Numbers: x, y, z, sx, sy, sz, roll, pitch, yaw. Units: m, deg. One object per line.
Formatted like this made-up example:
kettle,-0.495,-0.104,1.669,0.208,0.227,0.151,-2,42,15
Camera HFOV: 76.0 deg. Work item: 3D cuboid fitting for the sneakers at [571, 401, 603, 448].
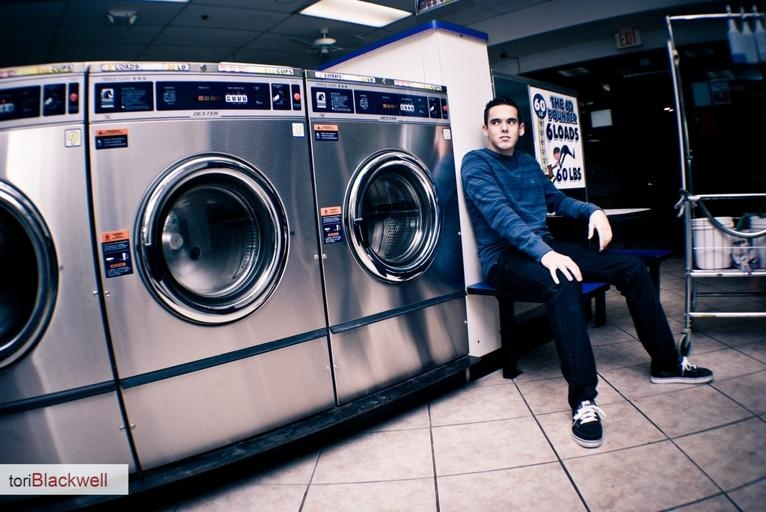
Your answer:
sneakers,0.991,0.829,2.374,0.103,0.092,0.252,-10,-5,13

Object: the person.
person,1.025,-0.069,2.846,0.955,1.737,1.160,-10,13,-30

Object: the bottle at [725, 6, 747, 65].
bottle,2.050,-1.289,2.880,0.120,0.315,0.153,0,12,16

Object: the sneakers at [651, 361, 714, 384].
sneakers,1.668,0.672,2.796,0.350,0.127,0.125,-4,-3,10

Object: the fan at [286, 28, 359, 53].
fan,-0.774,-2.992,6.858,1.025,0.214,0.574,-12,14,-40
